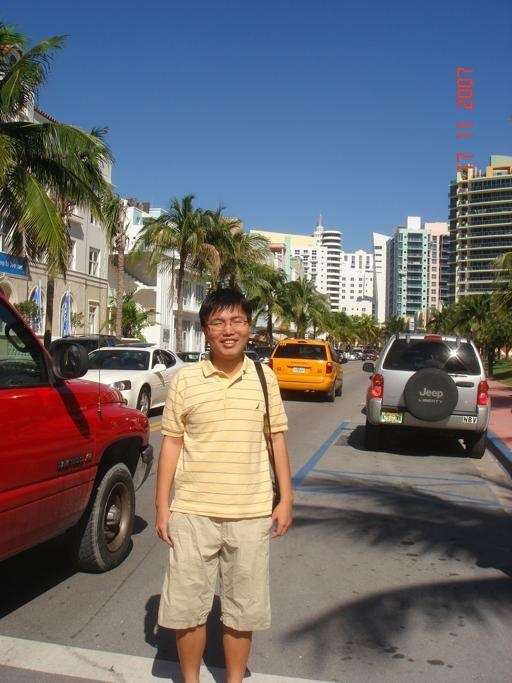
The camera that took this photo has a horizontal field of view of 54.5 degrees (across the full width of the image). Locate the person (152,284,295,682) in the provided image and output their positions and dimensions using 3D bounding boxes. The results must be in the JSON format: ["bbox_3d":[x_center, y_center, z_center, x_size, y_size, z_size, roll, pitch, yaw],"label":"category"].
[{"bbox_3d":[-0.106,0.494,1.838,0.510,1.441,0.244,3,-6,-13],"label":"person"}]

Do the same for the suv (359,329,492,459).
[{"bbox_3d":[2.947,0.859,8.656,2.001,2.181,1.471,0,-6,15],"label":"suv"}]
